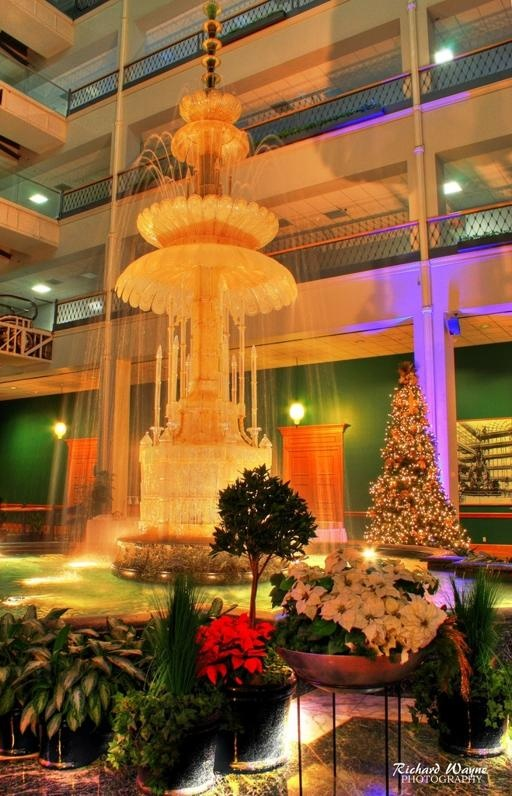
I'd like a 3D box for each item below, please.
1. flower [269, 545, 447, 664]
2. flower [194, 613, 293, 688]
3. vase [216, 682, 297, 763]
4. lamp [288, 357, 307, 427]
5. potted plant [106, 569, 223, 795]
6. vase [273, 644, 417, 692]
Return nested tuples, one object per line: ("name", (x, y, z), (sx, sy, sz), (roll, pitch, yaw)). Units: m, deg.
("flower", (0.256, 0.563, 1.548), (0.496, 0.262, 0.413), (-4, -10, 13))
("flower", (-0.061, 0.831, 1.939), (0.287, 0.198, 0.291), (2, 2, -16))
("vase", (0.000, 1.083, 1.818), (0.228, 0.191, 0.253), (3, -14, -3))
("lamp", (0.907, -0.121, 12.560), (0.401, 1.455, 1.113), (-2, -10, 3))
("potted plant", (-0.298, 0.888, 1.778), (0.305, 0.613, 0.451), (9, -15, -44))
("vase", (0.233, 0.704, 1.438), (0.365, 0.114, 0.176), (-3, -10, 12))
